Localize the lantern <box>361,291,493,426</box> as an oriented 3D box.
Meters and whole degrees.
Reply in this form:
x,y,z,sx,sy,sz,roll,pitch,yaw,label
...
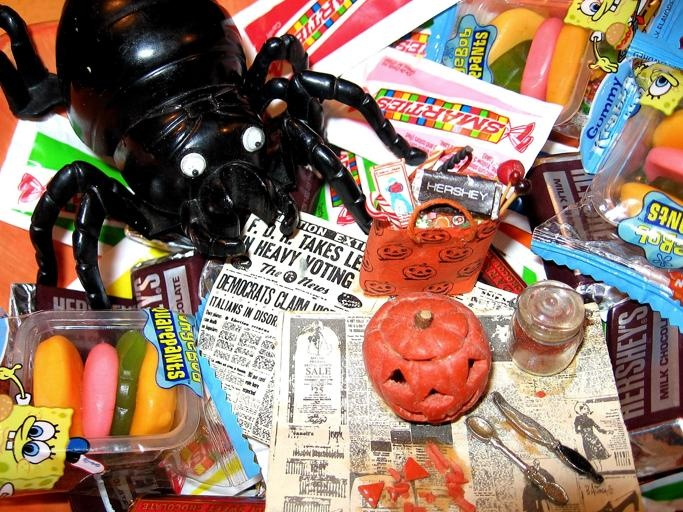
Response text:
x,y,z,sx,sy,sz,roll,pitch,yaw,label
0.170,0.165,1.228,0.297,0.239,0.265,1,41,1,lantern

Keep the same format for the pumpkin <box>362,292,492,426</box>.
x,y,z,sx,sy,sz,roll,pitch,yaw,label
0.178,0.205,1.147,0.258,0.240,0.221,-11,52,-5,pumpkin
